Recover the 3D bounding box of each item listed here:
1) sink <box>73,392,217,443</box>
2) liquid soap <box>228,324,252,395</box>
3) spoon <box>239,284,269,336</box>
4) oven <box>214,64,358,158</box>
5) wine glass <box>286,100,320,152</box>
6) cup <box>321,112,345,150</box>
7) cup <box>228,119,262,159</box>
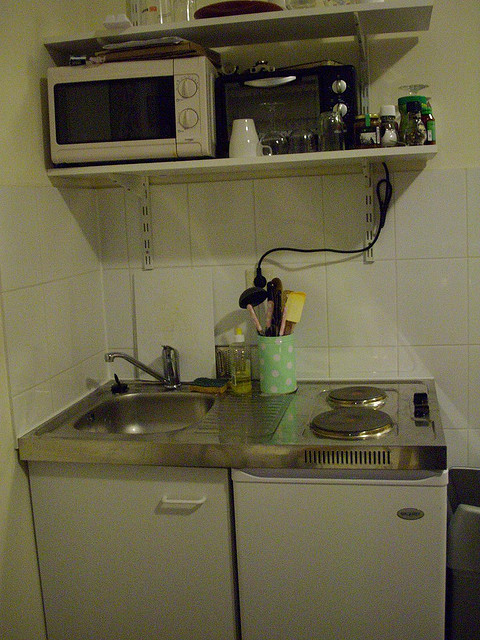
[{"bbox_3d":[-0.251,0.262,1.596,0.345,0.133,0.305,-1,6,7],"label":"sink"},{"bbox_3d":[-0.001,0.110,1.683,0.068,0.186,0.166,-3,9,0],"label":"liquid soap"},{"bbox_3d":[0.043,-0.006,1.662,0.085,0.195,0.118,-3,23,1],"label":"spoon"},{"bbox_3d":[0.107,-0.541,1.418,0.379,0.239,0.232,1,15,11],"label":"oven"},{"bbox_3d":[0.158,-0.491,1.420,0.075,0.114,0.075,2,17,9],"label":"wine glass"},{"bbox_3d":[0.226,-0.465,1.388,0.062,0.089,0.043,-2,9,7],"label":"cup"},{"bbox_3d":[0.014,-0.454,1.414,0.086,0.101,0.086,-3,9,1],"label":"cup"}]
